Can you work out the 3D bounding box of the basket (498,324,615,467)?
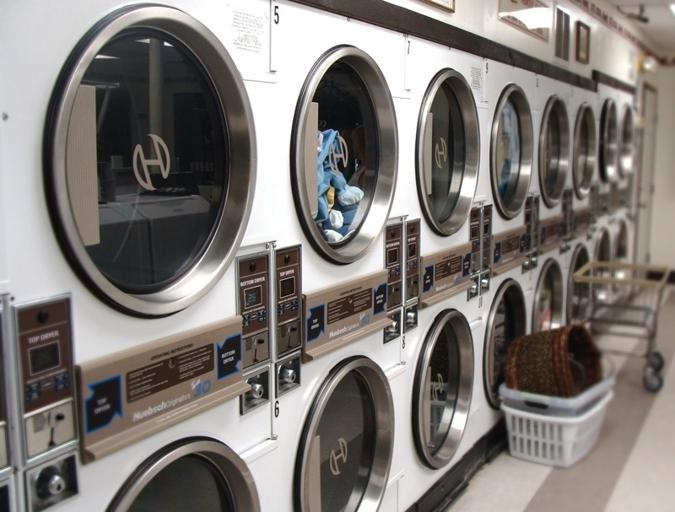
[{"bbox_3d":[1.472,0.833,3.528,0.620,0.988,0.898,1,8,32],"label":"basket"}]
